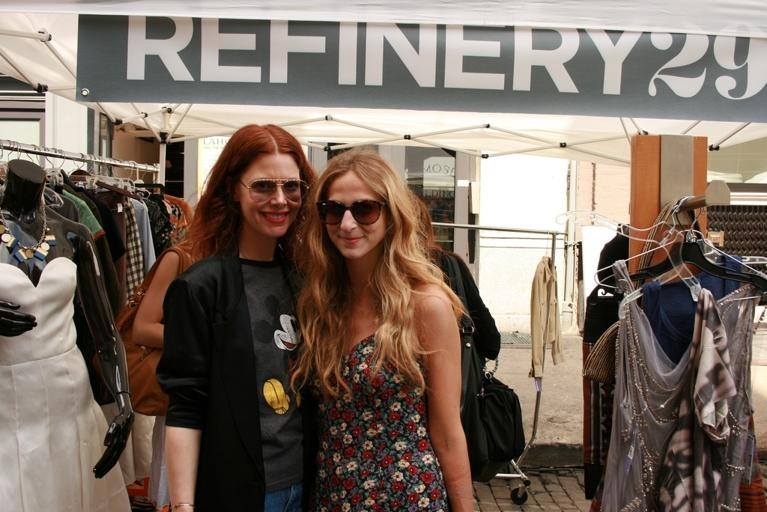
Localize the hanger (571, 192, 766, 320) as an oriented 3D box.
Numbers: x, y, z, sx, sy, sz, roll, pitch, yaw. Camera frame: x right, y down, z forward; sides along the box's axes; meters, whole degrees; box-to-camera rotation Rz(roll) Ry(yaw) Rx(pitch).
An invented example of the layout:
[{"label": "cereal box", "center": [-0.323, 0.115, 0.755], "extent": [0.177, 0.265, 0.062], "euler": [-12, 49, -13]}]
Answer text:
[{"label": "hanger", "center": [1.796, -0.081, 4.509], "extent": [0.814, 0.556, 0.858], "euler": [0, 2, -2]}]
